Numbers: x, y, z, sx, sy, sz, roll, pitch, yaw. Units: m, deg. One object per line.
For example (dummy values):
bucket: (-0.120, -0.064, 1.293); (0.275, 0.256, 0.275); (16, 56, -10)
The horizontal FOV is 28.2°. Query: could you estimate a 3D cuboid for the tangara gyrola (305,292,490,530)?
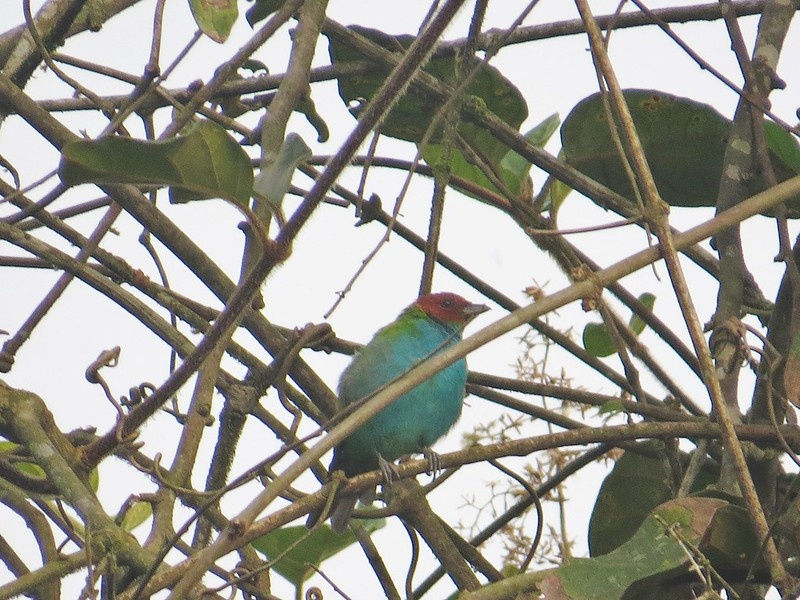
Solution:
tangara gyrola: (-0.054, 0.342, 5.898); (0.827, 0.734, 0.480); (-10, -17, 38)
